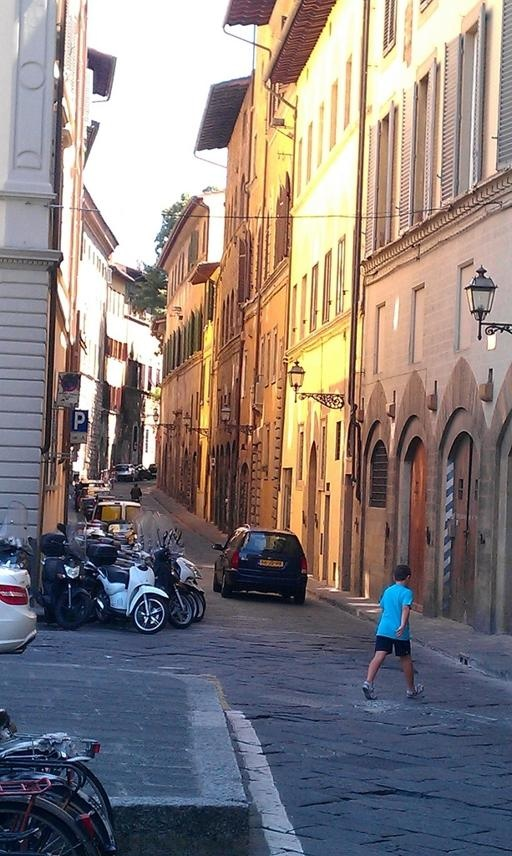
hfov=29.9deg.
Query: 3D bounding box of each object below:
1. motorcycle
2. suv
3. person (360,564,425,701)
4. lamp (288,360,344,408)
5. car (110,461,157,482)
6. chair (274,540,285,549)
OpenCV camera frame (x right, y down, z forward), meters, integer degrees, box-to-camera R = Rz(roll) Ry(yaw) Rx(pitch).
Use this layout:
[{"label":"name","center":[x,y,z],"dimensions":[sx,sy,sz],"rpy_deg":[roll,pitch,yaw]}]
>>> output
[{"label":"motorcycle","center":[-2.021,2.255,14.361],"dimensions":[2.171,1.804,1.328],"rpy_deg":[2,-9,-2]},{"label":"suv","center":[0.113,2.958,20.850],"dimensions":[2.111,1.594,1.535],"rpy_deg":[0,-9,21]},{"label":"person","center":[1.446,2.082,9.890],"dimensions":[0.573,1.306,1.986],"rpy_deg":[2,-10,10]},{"label":"lamp","center":[1.799,-1.254,27.518],"dimensions":[1.316,1.514,0.345],"rpy_deg":[3,5,43]},{"label":"car","center":[-10.521,3.888,82.243],"dimensions":[1.286,1.246,3.235],"rpy_deg":[-3,-9,10]},{"label":"chair","center":[0.527,2.524,20.522],"dimensions":[0.150,0.206,0.319],"rpy_deg":[2,4,1]}]
